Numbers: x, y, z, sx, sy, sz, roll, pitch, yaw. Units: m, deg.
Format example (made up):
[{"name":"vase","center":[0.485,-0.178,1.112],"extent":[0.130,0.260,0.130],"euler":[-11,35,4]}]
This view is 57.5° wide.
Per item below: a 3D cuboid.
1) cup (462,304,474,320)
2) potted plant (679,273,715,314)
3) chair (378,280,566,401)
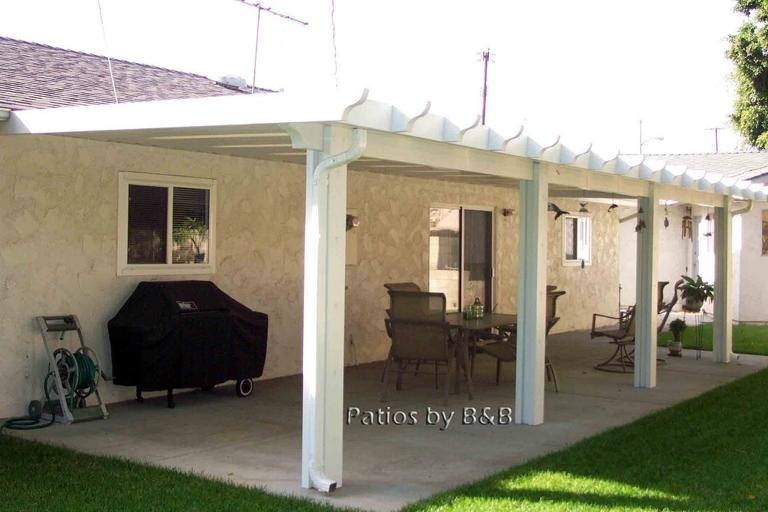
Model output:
[{"name":"cup","center":[1.318,0.857,10.784],"extent":[0.180,0.207,0.184],"euler":[-1,-6,0]},{"name":"potted plant","center":[6.118,0.710,13.687],"extent":[0.728,0.561,0.722],"euler":[13,14,20]},{"name":"chair","center":[1.108,1.072,10.439],"extent":[2.435,1.589,1.498],"euler":[-2,2,-36]}]
